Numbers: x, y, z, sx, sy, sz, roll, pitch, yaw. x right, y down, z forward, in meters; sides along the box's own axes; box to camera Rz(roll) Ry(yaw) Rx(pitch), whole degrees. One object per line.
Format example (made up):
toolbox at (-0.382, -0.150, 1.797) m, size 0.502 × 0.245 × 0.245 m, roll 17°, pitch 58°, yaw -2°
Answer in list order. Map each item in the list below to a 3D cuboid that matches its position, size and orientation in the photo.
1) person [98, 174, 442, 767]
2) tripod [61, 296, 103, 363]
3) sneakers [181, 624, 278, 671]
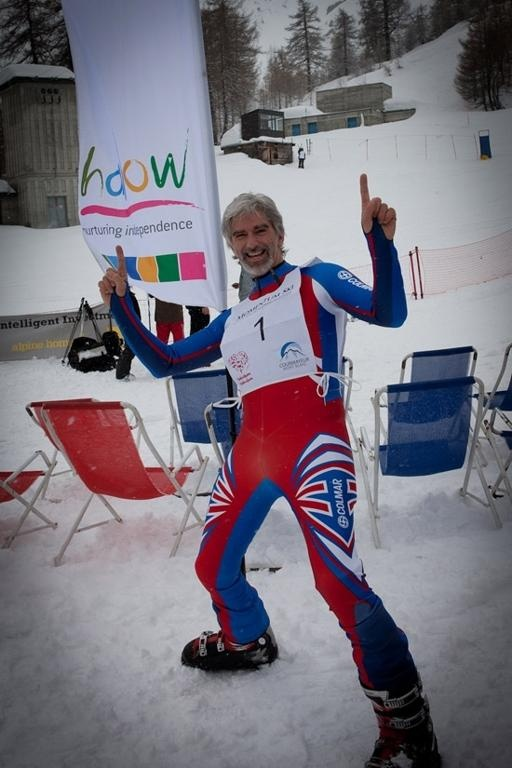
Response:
person at (0.135, 0.195, 1.683) m, size 0.845 × 1.544 × 0.502 m, roll 2°, pitch 12°, yaw 38°
tripod at (-2.386, -0.859, 8.096) m, size 0.650 × 0.653 × 0.536 m, roll -6°, pitch -10°, yaw 32°
sneakers at (-0.087, 0.881, 1.970) m, size 0.374 × 0.155 × 0.125 m, roll 0°, pitch -5°, yaw 8°
